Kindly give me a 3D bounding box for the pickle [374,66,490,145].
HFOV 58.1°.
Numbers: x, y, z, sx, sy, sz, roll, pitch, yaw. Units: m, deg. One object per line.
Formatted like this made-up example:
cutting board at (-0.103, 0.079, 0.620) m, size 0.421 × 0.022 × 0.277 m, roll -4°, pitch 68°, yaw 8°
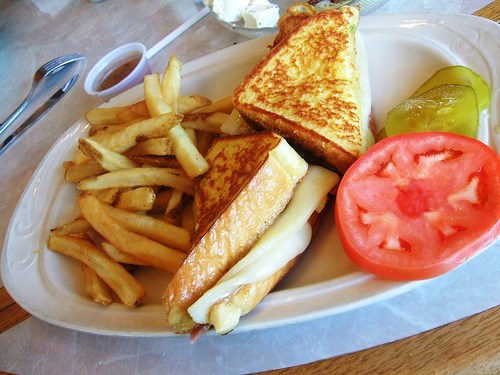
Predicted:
pickle at (0.802, -0.340, 2.000) m, size 0.498 × 0.058 × 0.276 m, roll -42°, pitch 52°, yaw 9°
